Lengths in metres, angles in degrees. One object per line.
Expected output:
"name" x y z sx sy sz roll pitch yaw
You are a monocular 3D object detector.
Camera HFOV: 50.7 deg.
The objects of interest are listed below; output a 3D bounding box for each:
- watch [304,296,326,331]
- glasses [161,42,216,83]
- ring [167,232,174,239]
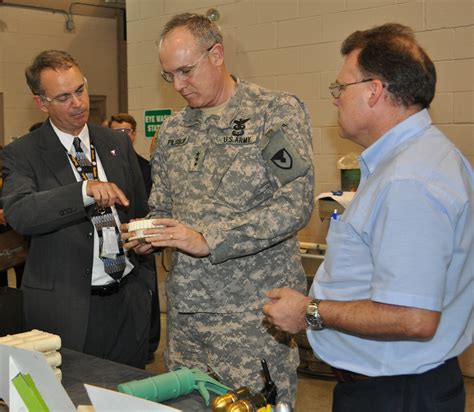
"watch" 0.214 0.306 1.427 0.057 0.084 0.085 4 23 23
"glasses" -0.164 -0.528 1.934 0.170 0.051 0.165 -47 25 -14
"ring" -0.225 0.104 1.704 0.016 0.019 0.022 0 9 -7
